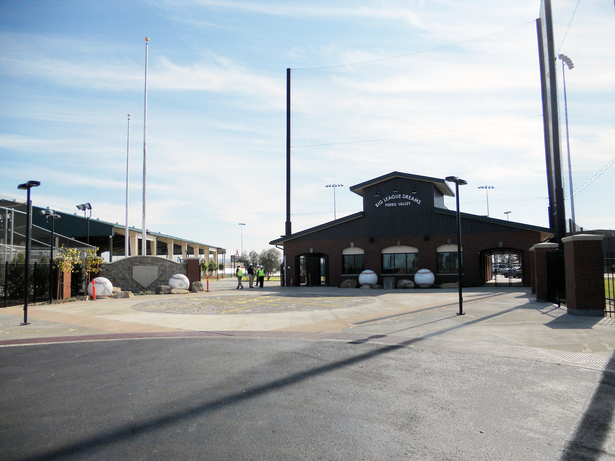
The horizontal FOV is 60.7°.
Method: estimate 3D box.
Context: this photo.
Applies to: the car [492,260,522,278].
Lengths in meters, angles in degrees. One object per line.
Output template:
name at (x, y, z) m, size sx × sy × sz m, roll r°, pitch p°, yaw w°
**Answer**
car at (23.686, 4.616, 62.471) m, size 2.272 × 1.818 × 3.794 m, roll 3°, pitch -7°, yaw -41°
